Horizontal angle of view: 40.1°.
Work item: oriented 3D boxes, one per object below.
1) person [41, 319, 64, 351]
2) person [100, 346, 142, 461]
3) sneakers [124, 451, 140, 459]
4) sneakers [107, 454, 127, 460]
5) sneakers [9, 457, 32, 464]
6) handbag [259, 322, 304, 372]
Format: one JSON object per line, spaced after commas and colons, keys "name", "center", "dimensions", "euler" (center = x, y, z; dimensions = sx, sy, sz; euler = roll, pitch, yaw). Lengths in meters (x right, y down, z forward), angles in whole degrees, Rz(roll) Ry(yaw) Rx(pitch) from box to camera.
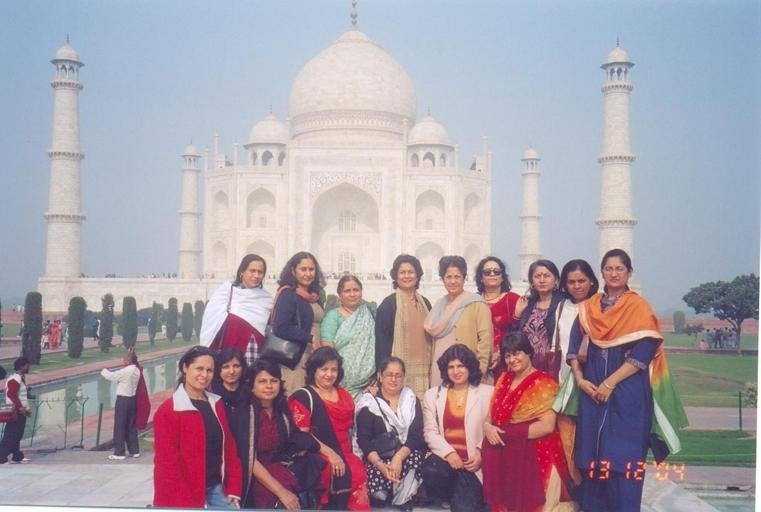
{"name": "person", "center": [-5.960, 1.440, 18.956], "dimensions": [0.368, 0.506, 1.073], "euler": [1, -3, -18]}
{"name": "person", "center": [-2.826, 1.618, 11.491], "dimensions": [0.433, 1.175, 0.438], "euler": [1, -4, -23]}
{"name": "sneakers", "center": [-2.731, 2.182, 11.462], "dimensions": [0.154, 0.064, 0.056], "euler": [4, -4, 5]}
{"name": "sneakers", "center": [-2.872, 2.192, 11.363], "dimensions": [0.189, 0.075, 0.068], "euler": [8, -4, 3]}
{"name": "sneakers", "center": [-3.836, 2.187, 11.136], "dimensions": [0.203, 0.086, 0.069], "euler": [1, -2, -9]}
{"name": "handbag", "center": [-0.937, 0.870, 9.942], "dimensions": [0.375, 0.387, 0.166], "euler": [19, -8, 9]}
